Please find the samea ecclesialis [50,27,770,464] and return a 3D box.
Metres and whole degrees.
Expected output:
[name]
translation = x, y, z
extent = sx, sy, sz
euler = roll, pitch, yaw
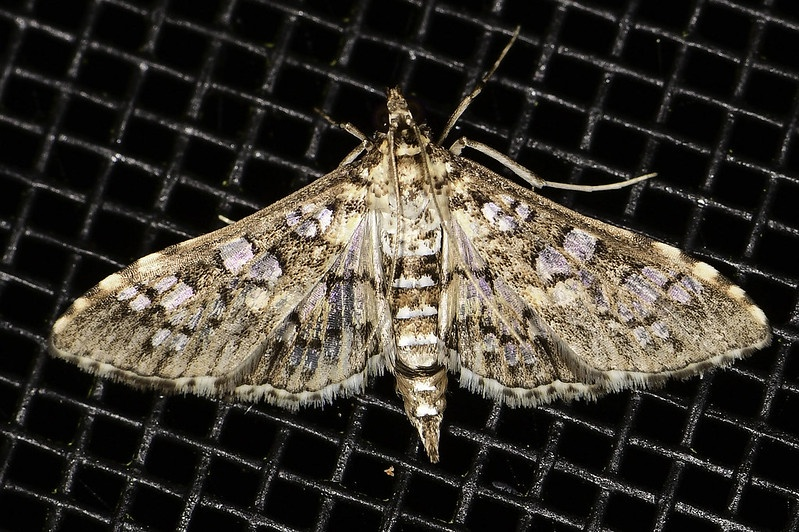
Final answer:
[samea ecclesialis]
translation = -0.010, -0.056, 4.764
extent = 3.265, 0.850, 1.935
euler = -1, -82, 4
